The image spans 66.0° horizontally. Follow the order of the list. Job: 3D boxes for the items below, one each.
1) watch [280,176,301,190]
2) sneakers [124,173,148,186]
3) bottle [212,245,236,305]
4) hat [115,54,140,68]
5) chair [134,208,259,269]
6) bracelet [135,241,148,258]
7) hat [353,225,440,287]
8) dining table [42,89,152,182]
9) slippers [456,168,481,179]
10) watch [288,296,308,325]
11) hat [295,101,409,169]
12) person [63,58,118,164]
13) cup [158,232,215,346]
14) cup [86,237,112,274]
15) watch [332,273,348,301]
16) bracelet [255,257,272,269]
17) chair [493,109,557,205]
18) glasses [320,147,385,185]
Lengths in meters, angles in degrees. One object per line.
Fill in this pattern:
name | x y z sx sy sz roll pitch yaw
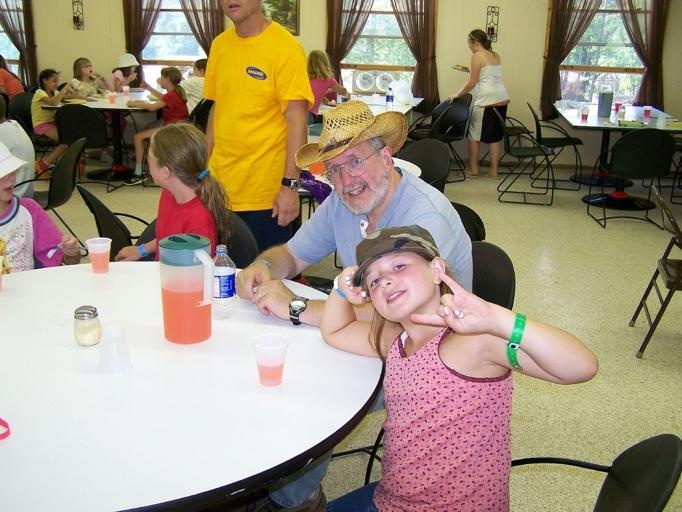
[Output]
watch | -0.262 -0.383 2.774 0.078 0.058 0.084 5 10 -35
sneakers | -2.677 -1.009 6.894 0.271 0.136 0.131 -1 9 18
bottle | -0.429 0.064 1.895 0.108 0.207 0.109 1 9 0
hat | -3.354 -3.035 8.288 0.315 0.194 0.255 8 22 30
chair | -0.653 -0.157 2.421 0.348 0.367 0.428 -16 26 -36
bracelet | -0.979 -0.035 2.601 0.032 0.065 0.048 -31 -14 16
hat | 0.157 -0.007 1.414 0.146 0.068 0.201 -24 -8 39
dining table | -3.038 -1.834 7.183 1.215 0.947 1.296 0 19 1
slippers | 1.824 -1.187 7.593 0.158 0.155 0.338 -12 19 -40
watch | -0.144 0.177 1.781 0.053 0.081 0.090 1 61 17
hat | 0.007 -0.477 1.921 0.335 0.158 0.353 -10 3 18
person | -3.799 -2.382 8.130 0.663 1.297 0.590 13 39 7
cup | -0.459 0.101 1.590 0.190 0.308 0.154 16 22 29
cup | -0.922 0.001 2.024 0.108 0.127 0.105 -5 -3 0
watch | -0.003 0.095 1.630 0.044 0.059 0.030 9 58 18
bracelet | -0.297 0.023 2.034 0.038 0.043 0.040 5 32 -3
chair | 2.402 -1.425 6.910 0.762 1.149 0.754 -3 4 1
glasses | 0.050 -0.320 1.876 0.206 0.126 0.085 4 23 6
